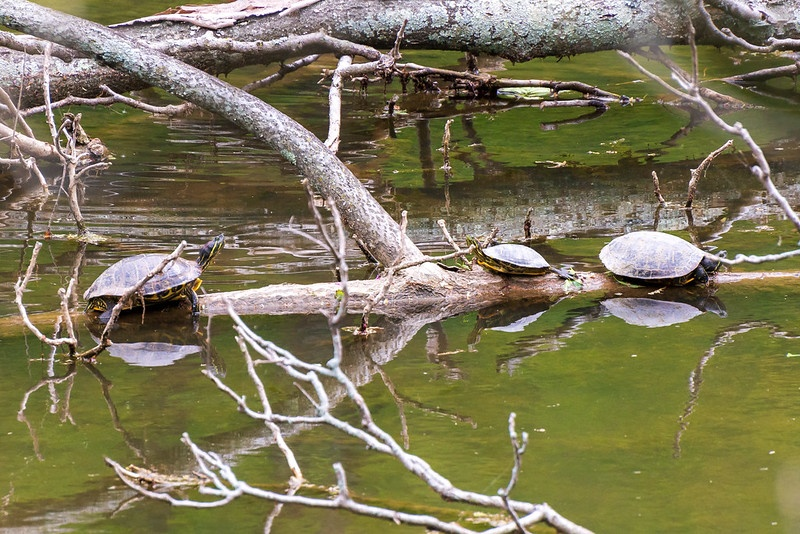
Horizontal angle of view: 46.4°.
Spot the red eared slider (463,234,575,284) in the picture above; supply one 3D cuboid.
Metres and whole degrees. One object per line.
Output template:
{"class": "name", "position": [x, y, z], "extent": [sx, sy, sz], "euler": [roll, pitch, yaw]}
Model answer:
{"class": "red eared slider", "position": [1.518, -0.099, 11.835], "extent": [1.275, 0.216, 0.676], "euler": [6, -1, -8]}
